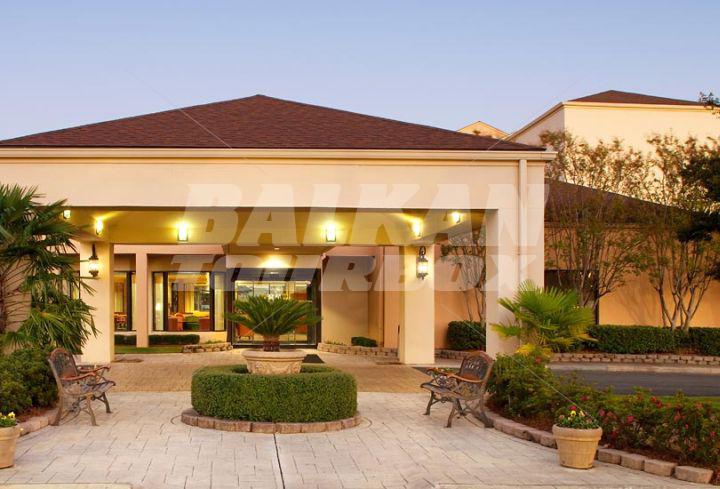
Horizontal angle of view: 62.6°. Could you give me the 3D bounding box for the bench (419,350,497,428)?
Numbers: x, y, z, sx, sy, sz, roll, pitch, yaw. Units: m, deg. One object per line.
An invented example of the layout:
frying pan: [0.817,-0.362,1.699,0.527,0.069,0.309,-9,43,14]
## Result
bench: [1.692,2.427,10.210,1.053,1.165,1.204,0,-4,-5]

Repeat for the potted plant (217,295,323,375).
potted plant: [-1.523,1.537,10.482,1.480,1.198,1.430,1,-6,-4]

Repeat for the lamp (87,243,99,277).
lamp: [-7.277,0.424,16.219,0.288,0.946,0.945,1,-4,-24]

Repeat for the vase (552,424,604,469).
vase: [2.797,2.629,7.686,0.569,0.392,0.553,-1,-6,9]

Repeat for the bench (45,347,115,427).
bench: [-4.732,2.383,10.178,0.885,1.083,1.670,2,-6,-13]

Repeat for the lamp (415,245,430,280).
lamp: [1.758,0.478,16.682,0.361,0.968,0.352,-1,-3,5]
